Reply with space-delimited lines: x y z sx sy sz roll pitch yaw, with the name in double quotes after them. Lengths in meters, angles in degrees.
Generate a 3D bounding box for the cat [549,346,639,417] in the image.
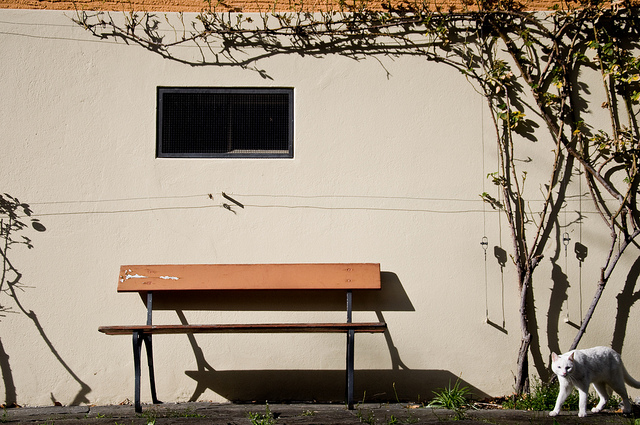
2.719 1.673 9.125 0.922 0.662 0.192 0 5 -14 "cat"
